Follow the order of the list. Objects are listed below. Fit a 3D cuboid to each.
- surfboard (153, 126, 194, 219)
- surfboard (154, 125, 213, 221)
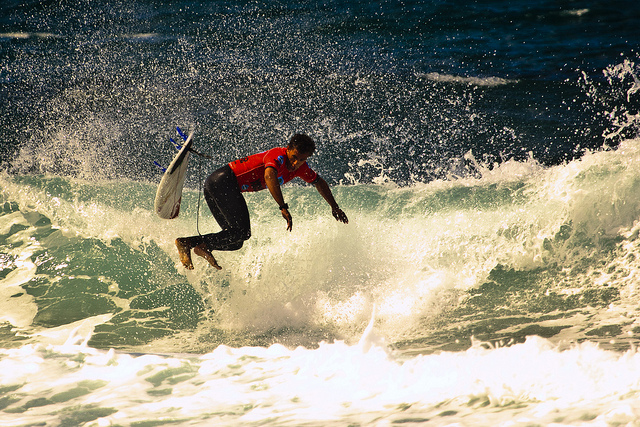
[{"bbox_3d":[-2.093,-0.563,12.337,0.643,1.297,0.647,-7,7,-11],"label":"surfboard"},{"bbox_3d":[-2.142,-0.653,12.470,0.836,1.489,0.195,9,23,-25],"label":"surfboard"}]
